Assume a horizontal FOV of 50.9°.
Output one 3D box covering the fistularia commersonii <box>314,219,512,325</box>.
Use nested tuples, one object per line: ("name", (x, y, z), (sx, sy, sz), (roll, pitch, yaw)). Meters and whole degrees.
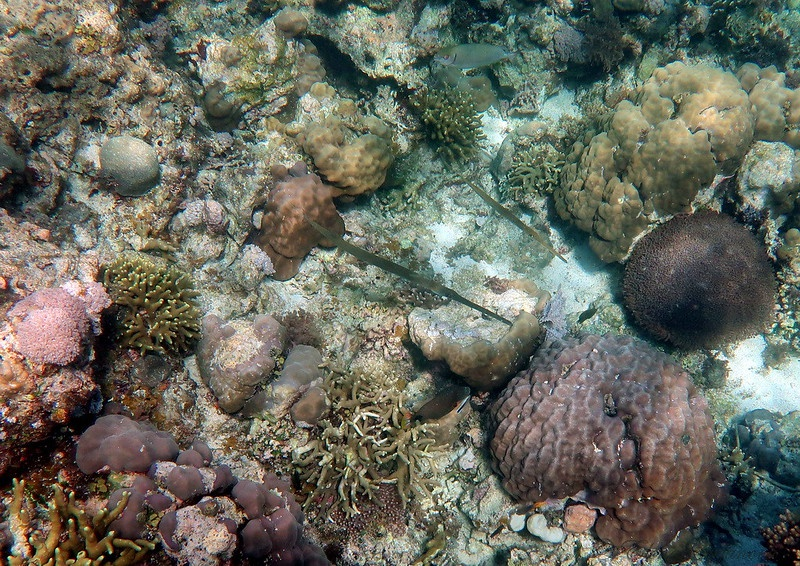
("fistularia commersonii", (0.123, -0.127, 13.931), (3.004, 0.336, 0.183), (31, 65, -19))

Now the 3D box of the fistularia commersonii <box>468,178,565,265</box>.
("fistularia commersonii", (2.103, -1.051, 14.715), (1.964, 0.209, 0.153), (44, 37, 7))
